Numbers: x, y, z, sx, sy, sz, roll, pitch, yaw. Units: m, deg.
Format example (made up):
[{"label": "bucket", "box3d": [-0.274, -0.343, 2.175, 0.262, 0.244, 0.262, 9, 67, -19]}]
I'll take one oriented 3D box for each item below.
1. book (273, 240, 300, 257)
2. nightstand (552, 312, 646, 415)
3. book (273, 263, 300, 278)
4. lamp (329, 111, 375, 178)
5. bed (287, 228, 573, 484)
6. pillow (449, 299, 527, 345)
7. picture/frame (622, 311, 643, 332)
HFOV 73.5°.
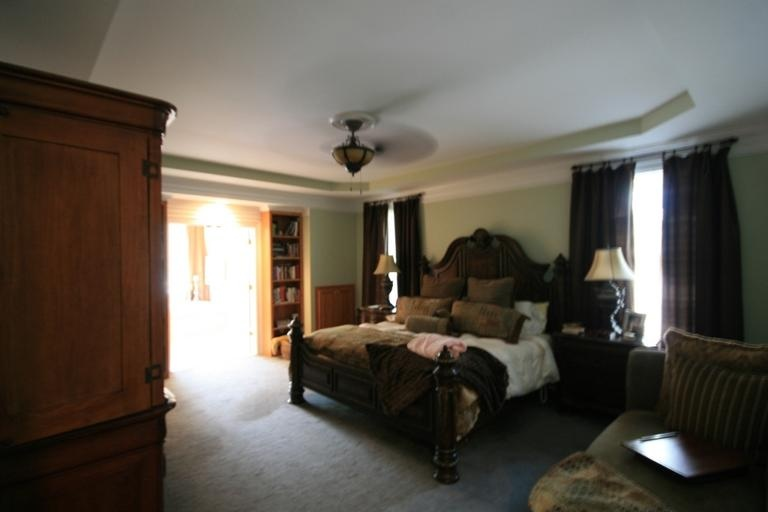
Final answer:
[{"label": "book", "box3d": [-1.495, -0.124, 7.903, 0.339, 0.252, 0.350, 1, 2, -12]}, {"label": "nightstand", "box3d": [2.223, 1.026, 5.331, 0.686, 0.965, 0.952, 3, -4, -44]}, {"label": "book", "box3d": [-1.526, 0.243, 7.965, 0.233, 0.347, 0.257, 1, -1, 20]}, {"label": "lamp", "box3d": [-0.286, -1.085, 4.954, 0.449, 0.539, 0.460, 0, -3, 4]}, {"label": "bed", "box3d": [0.484, 0.701, 5.806, 2.550, 1.832, 2.637, -9, 10, -44]}, {"label": "pillow", "box3d": [1.103, 0.693, 5.560, 0.205, 0.411, 0.610, 19, -6, -42]}, {"label": "picture/frame", "box3d": [2.463, 0.647, 5.069, 0.187, 0.170, 0.188, 3, 9, 28]}]
